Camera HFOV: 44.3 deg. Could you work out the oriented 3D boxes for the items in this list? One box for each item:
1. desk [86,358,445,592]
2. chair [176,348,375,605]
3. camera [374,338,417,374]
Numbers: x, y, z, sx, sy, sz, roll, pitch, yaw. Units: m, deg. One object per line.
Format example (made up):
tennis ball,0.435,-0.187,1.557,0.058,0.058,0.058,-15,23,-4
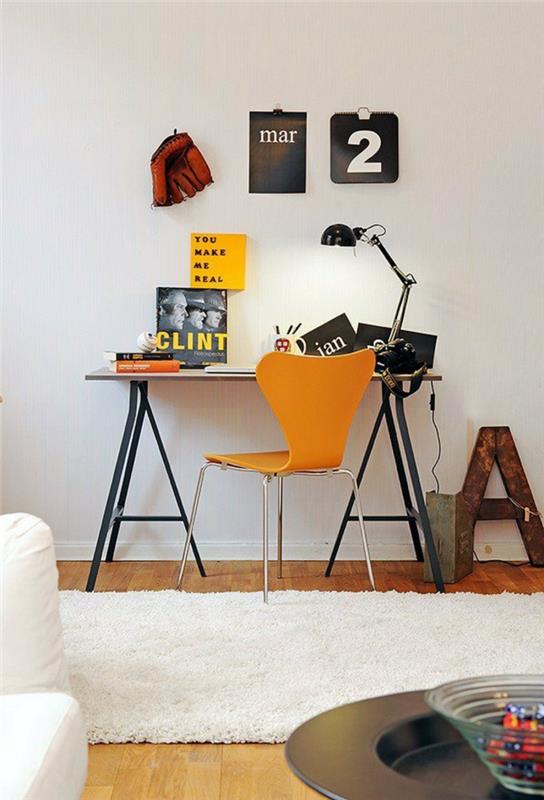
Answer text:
desk,-0.018,0.304,2.626,1.321,0.892,0.500,-1,4,-2
chair,0.071,0.250,2.323,0.493,0.841,0.562,0,1,-37
camera,0.469,-0.168,2.475,0.133,0.138,0.087,-9,15,-29
